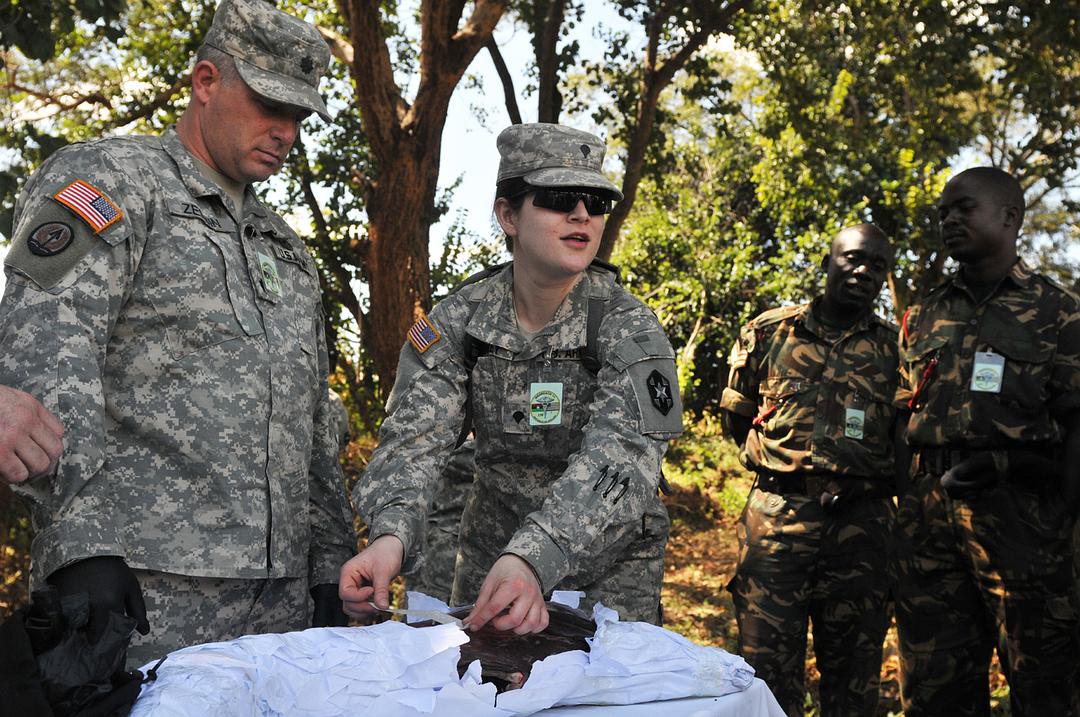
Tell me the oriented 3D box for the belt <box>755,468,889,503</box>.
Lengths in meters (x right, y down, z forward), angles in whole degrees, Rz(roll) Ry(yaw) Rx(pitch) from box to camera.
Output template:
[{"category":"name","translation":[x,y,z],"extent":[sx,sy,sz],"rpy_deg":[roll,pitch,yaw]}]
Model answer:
[{"category":"belt","translation":[1.681,0.774,7.045],"extent":[0.803,0.187,0.218],"rpy_deg":[5,-9,13]}]

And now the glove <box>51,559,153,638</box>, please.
[{"category":"glove","translation":[-1.721,0.926,4.685],"extent":[0.449,0.281,0.255],"rpy_deg":[0,-11,40]}]
